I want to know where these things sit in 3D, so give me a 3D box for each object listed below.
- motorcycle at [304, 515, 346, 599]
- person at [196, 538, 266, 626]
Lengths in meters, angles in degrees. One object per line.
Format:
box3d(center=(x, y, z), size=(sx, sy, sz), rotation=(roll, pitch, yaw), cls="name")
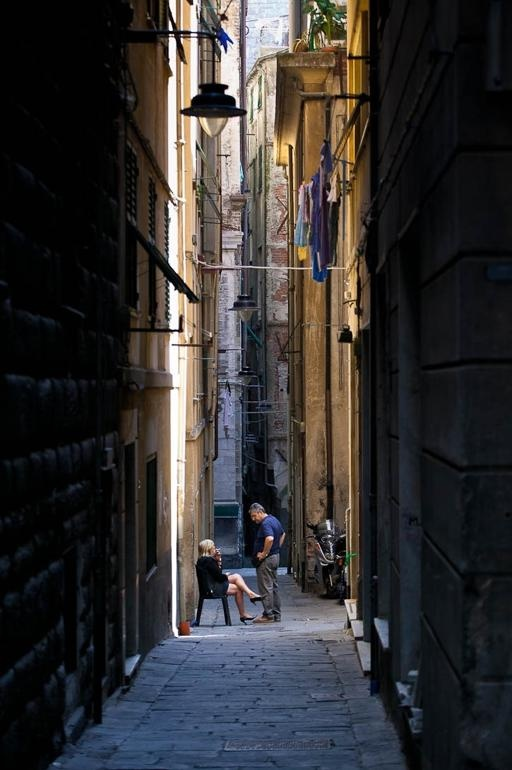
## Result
box3d(center=(1.239, 3.222, 16.243), size=(0.419, 1.479, 1.940), rotation=(-3, -8, -9), cls="motorcycle")
box3d(center=(-0.430, 3.071, 13.712), size=(0.767, 1.702, 0.596), rotation=(-7, -31, -8), cls="person")
